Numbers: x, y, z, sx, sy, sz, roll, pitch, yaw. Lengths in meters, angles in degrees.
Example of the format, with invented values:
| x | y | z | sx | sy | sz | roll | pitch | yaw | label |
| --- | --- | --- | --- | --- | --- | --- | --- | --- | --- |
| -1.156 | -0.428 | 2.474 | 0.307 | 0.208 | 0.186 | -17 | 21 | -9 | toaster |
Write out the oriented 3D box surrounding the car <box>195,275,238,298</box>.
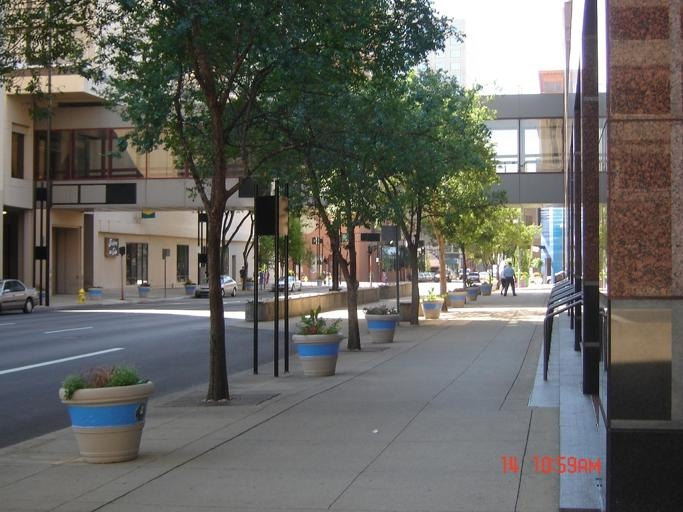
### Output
| x | y | z | sx | sy | sz | roll | pitch | yaw | label |
| --- | --- | --- | --- | --- | --- | --- | --- | --- | --- |
| -6.708 | 1.682 | 45.102 | 1.133 | 1.061 | 2.896 | -2 | -7 | 11 | car |

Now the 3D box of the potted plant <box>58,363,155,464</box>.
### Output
| x | y | z | sx | sy | sz | roll | pitch | yaw | label |
| --- | --- | --- | --- | --- | --- | --- | --- | --- | --- |
| -2.965 | 1.994 | 10.764 | 1.003 | 1.227 | 1.114 | 0 | -7 | -6 | potted plant |

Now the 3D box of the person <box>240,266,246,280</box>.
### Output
| x | y | z | sx | sy | sz | roll | pitch | yaw | label |
| --- | --- | --- | --- | --- | --- | --- | --- | --- | --- |
| -8.134 | 1.455 | 70.089 | 0.348 | 1.101 | 1.834 | -3 | -1 | -10 | person |
